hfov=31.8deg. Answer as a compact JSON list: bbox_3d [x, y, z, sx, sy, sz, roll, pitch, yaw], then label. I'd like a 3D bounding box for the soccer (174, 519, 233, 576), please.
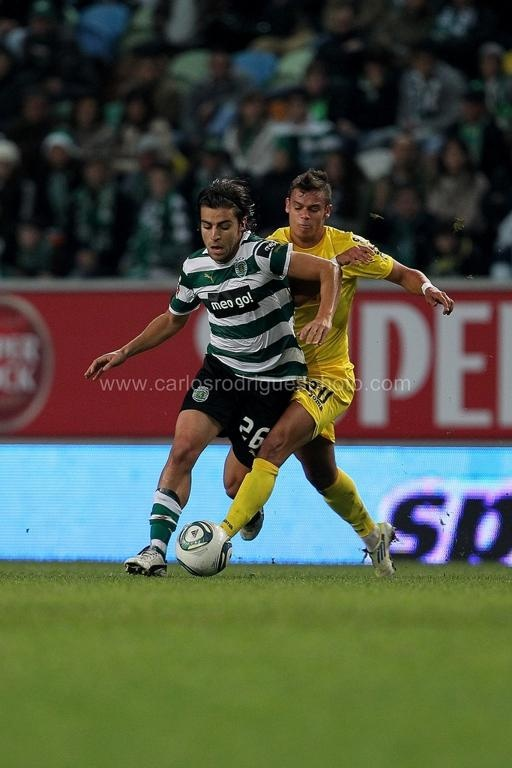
[{"bbox_3d":[-0.187,0.652,3.470,0.196,0.441,0.185,-2,72,2],"label":"soccer"}]

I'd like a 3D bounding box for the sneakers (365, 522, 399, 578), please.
[{"bbox_3d":[0.595,0.755,4.147,0.148,0.095,0.249,-12,93,-2],"label":"sneakers"}]

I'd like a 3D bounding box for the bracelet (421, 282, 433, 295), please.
[{"bbox_3d":[0.703,-0.395,3.681,0.051,0.059,0.041,-1,88,-15],"label":"bracelet"}]

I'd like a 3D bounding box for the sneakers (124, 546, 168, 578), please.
[{"bbox_3d":[-0.424,0.688,3.477,0.079,0.200,0.102,-6,62,34],"label":"sneakers"}]
